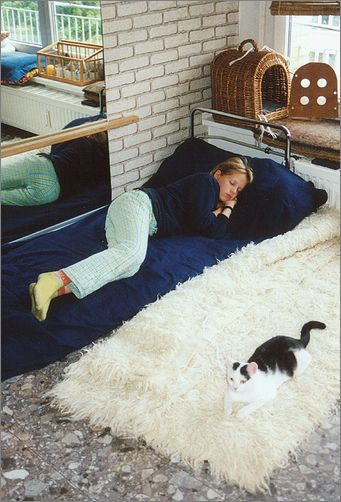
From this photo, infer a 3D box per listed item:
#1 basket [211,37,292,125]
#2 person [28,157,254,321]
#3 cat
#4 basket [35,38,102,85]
[{"bbox_3d":[0.469,-1.031,2.723,0.332,0.431,0.374,-28,38,-32],"label":"basket"},{"bbox_3d":[-0.085,-0.082,2.172,1.359,0.414,0.357,-28,52,-31],"label":"person"},{"bbox_3d":[0.303,0.310,1.377,0.366,0.137,0.130,-36,34,-32],"label":"cat"},{"bbox_3d":[-0.466,-0.890,2.170,0.273,0.156,0.190,24,48,21],"label":"basket"}]
